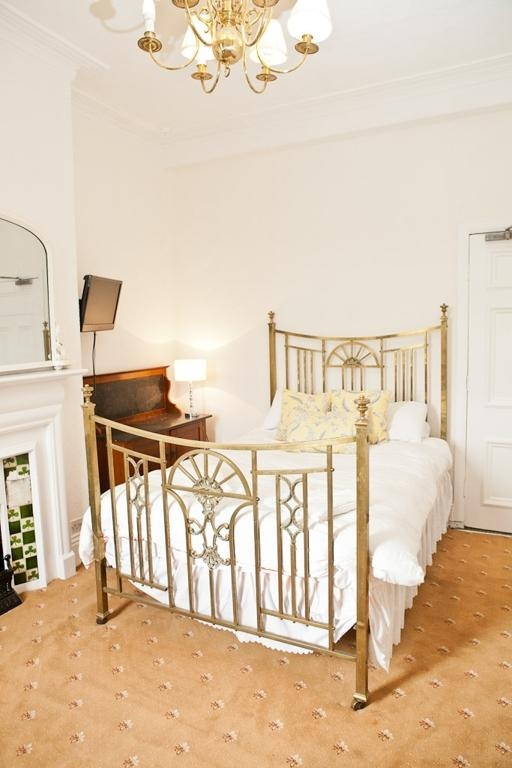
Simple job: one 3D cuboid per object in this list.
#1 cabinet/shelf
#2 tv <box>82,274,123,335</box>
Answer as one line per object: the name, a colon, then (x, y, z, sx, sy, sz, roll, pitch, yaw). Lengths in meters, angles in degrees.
cabinet/shelf: (-0.647, 0.255, 3.288, 0.251, 0.664, 0.685, 4, 12, 23)
tv: (-0.942, -0.486, 3.495, 0.067, 0.304, 0.410, 15, 6, 5)
